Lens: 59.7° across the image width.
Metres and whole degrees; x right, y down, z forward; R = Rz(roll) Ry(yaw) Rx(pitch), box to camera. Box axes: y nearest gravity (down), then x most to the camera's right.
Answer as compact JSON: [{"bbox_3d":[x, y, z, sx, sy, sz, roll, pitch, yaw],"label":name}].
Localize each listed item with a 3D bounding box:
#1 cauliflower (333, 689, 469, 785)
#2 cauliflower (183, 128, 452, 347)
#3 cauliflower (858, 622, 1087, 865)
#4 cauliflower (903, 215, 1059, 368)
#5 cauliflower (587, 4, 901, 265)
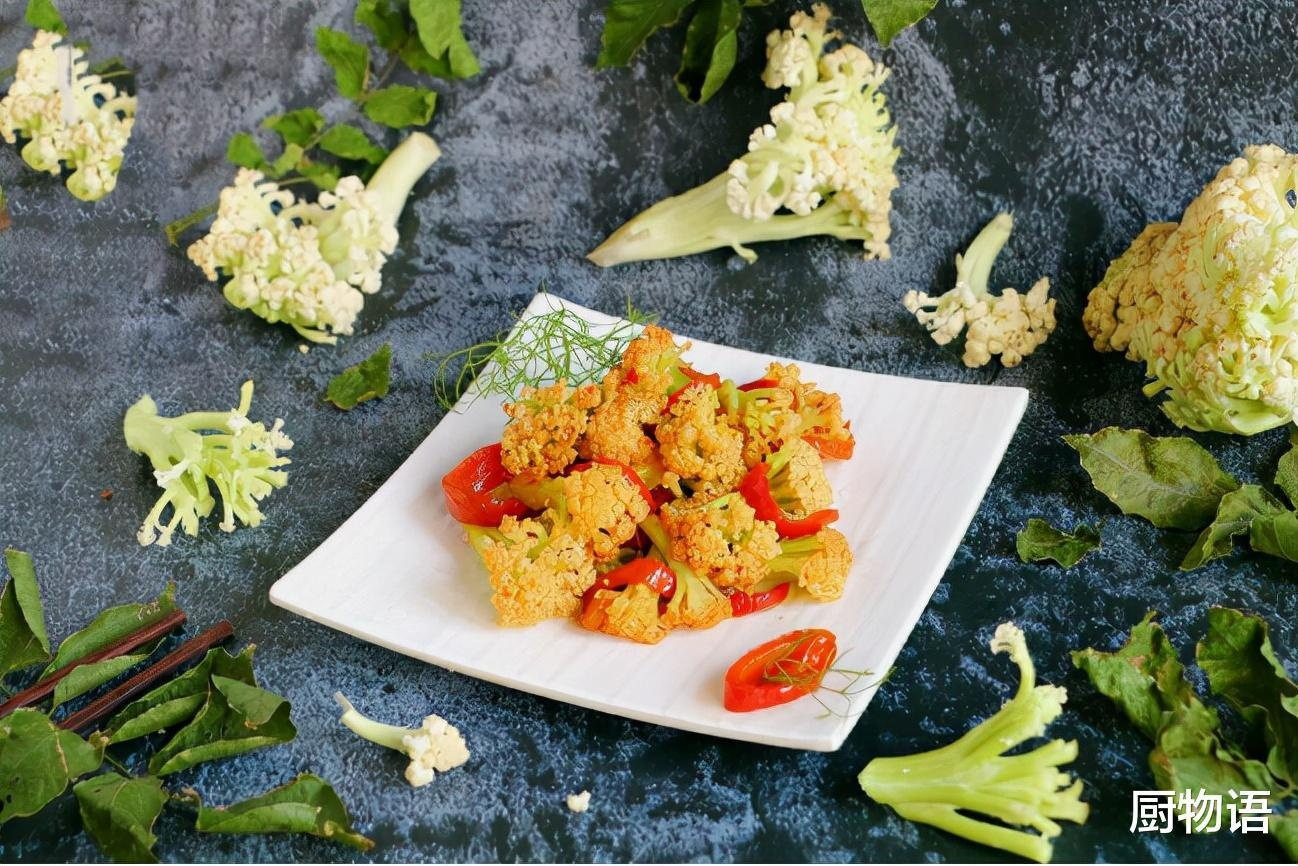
[{"bbox_3d":[-0.414,0.514,1.903,0.217,0.070,0.111,23,50,21],"label":"cauliflower"},{"bbox_3d":[-0.657,-0.440,2.290,0.503,0.388,0.237,-18,98,-11],"label":"cauliflower"},{"bbox_3d":[0.544,0.530,1.803,0.377,0.288,0.271,-38,82,-5],"label":"cauliflower"},{"bbox_3d":[0.617,-0.274,2.305,0.291,0.267,0.075,-41,59,-17],"label":"cauliflower"},{"bbox_3d":[0.202,-0.587,2.249,0.576,0.230,0.460,0,82,1],"label":"cauliflower"}]
